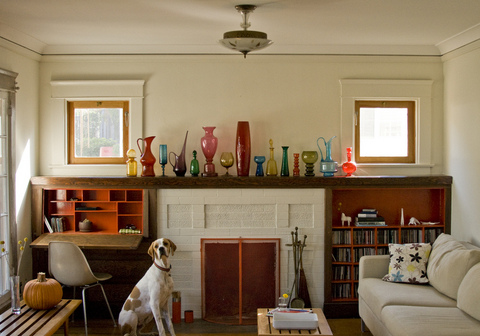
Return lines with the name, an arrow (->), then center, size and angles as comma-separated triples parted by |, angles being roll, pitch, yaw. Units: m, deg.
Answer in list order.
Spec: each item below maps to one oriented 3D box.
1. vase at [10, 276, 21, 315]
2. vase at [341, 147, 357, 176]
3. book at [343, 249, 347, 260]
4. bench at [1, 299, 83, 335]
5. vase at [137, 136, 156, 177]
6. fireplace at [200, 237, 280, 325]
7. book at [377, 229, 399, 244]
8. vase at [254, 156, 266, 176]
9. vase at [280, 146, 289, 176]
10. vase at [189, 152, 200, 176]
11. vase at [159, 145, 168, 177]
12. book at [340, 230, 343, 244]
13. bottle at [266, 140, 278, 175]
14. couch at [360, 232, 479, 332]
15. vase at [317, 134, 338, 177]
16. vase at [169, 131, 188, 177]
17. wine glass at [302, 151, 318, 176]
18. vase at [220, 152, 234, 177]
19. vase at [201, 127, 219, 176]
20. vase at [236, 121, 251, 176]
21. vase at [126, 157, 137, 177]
vase -> -2.324, 1.298, 4.484 | 0.087, 0.385, 0.192 | 0, -2, -27
vase -> 1.482, -0.092, 5.826 | 0.195, 0.391, 0.249 | -1, -1, 15
book -> 1.402, 1.142, 5.742 | 0.043, 0.144, 0.014 | -1, -1, 7
bench -> -2.100, 1.511, 4.411 | 0.685, 0.171, 0.664 | -1, -2, 4
vase -> -1.250, -0.157, 5.770 | 0.247, 0.545, 0.337 | 0, -1, -9
fireplace -> -0.002, 1.419, 5.882 | 1.147, 1.037, 0.458 | 2, 1, -3
book -> 1.968, 0.908, 5.732 | 0.191, 0.181, 0.064 | 0, 0, -3
vase -> 0.275, -0.032, 5.783 | 0.146, 0.269, 0.214 | 0, -1, 3
vase -> 0.612, -0.097, 5.797 | 0.102, 0.399, 0.245 | -1, -1, 7
vase -> -0.607, -0.057, 5.823 | 0.140, 0.320, 0.213 | 0, -1, -7
vase -> -1.025, -0.109, 5.818 | 0.113, 0.410, 0.166 | 0, -1, -9
book -> 1.356, 0.911, 5.735 | 0.032, 0.167, 0.010 | 0, -1, -13
bottle -> 0.455, -0.143, 5.798 | 0.121, 0.453, 0.230 | -1, -2, 29
couch -> 1.965, 1.302, 4.665 | 1.143, 1.013, 1.206 | -1, -2, 7
vase -> 1.185, -0.179, 5.789 | 0.267, 0.575, 0.327 | -1, -1, 8
vase -> -0.823, -0.193, 5.826 | 0.255, 0.593, 0.217 | 0, -1, -9
wine glass -> 0.950, -0.067, 5.790 | 0.202, 0.340, 0.276 | -1, -1, 10
vase -> -0.164, -0.054, 5.752 | 0.185, 0.337, 0.318 | 0, -1, -2
vase -> -0.400, -0.218, 5.767 | 0.224, 0.641, 0.244 | 0, -1, -3
vase -> 0.047, -0.256, 5.705 | 0.183, 0.713, 0.099 | 0, -1, 0
vase -> -1.437, -0.020, 5.742 | 0.132, 0.256, 0.209 | 0, -2, -17
